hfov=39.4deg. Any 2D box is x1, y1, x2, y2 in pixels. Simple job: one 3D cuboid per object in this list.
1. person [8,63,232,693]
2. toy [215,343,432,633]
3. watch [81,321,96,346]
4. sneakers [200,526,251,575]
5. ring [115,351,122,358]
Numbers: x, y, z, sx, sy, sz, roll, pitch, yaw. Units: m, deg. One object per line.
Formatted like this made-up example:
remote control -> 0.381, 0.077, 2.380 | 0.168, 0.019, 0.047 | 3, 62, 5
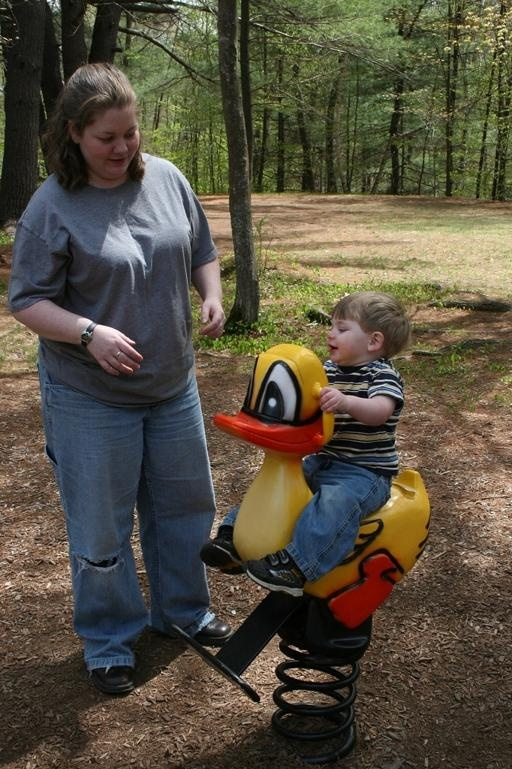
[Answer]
person -> -0.431, 0.047, 2.481 | 0.461, 2.128, 0.708 | 10, 17, 29
toy -> 0.215, 0.294, 2.080 | 0.622, 0.833, 0.311 | -8, 18, -31
watch -> -0.489, -0.150, 2.101 | 0.050, 0.067, 0.038 | 15, 20, 42
sneakers -> -0.077, 0.485, 2.110 | 0.077, 0.199, 0.129 | -8, 54, 22
ring -> -0.398, -0.089, 2.058 | 0.020, 0.019, 0.009 | 0, 15, -5
